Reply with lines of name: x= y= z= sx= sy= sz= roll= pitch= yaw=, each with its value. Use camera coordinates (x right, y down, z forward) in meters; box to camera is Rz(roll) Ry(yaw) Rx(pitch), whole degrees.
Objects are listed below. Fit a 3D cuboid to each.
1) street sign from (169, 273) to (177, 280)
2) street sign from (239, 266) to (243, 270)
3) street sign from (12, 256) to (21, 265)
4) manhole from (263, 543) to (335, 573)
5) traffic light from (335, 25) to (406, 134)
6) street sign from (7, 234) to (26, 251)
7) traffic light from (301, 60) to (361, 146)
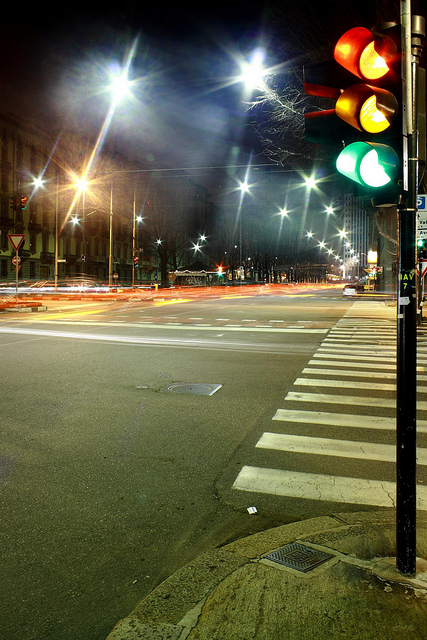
street sign: x=-6.253 y=-6.722 z=72.022 sx=0.755 sy=0.269 sz=0.918 roll=-5 pitch=-43 yaw=8
street sign: x=5.938 y=-11.609 z=105.990 sx=0.827 sy=0.403 sz=1.181 roll=-1 pitch=2 yaw=7
street sign: x=-9.428 y=-2.886 z=23.111 sx=0.474 sy=0.131 sz=0.480 roll=19 pitch=16 yaw=34
manhole: x=0.446 y=1.230 z=2.530 sx=0.261 sy=0.058 sz=0.293 roll=-3 pitch=6 yaw=-43
traffic light: x=0.748 y=-1.173 z=2.405 sx=0.189 sy=0.558 sz=0.412 roll=-1 pitch=4 yaw=-25
street sign: x=-8.905 y=-3.540 z=21.732 sx=0.563 sy=0.733 sz=1.157 roll=-2 pitch=5 yaw=-29
traffic light: x=0.681 y=-1.244 z=2.727 sx=0.234 sy=0.540 sz=0.286 roll=6 pitch=-8 yaw=-42
